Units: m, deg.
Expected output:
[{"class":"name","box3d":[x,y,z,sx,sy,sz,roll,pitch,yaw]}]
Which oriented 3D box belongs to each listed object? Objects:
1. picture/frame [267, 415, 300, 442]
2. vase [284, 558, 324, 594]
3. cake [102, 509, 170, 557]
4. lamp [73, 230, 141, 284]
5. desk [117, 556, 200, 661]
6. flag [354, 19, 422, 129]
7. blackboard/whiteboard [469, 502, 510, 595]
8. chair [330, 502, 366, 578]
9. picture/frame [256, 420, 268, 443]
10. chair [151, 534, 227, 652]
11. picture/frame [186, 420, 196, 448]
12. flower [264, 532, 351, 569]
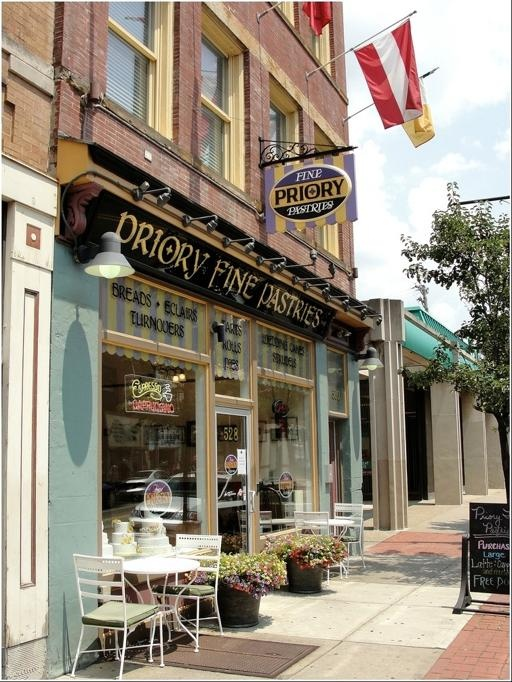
[{"class":"picture/frame","box3d":[0.438,1.388,11.456,0.096,0.419,1.251,-7,-12,21]},{"class":"vase","box3d":[0.630,3.058,9.422,0.406,0.377,0.478,-1,-20,3]},{"class":"cake","box3d":[-1.122,1.949,7.311,0.442,0.398,1.076,-6,-12,13]},{"class":"lamp","box3d":[-1.240,-0.690,6.208,0.424,0.406,0.429,-3,3,2]},{"class":"desk","box3d":[-0.882,2.321,6.855,0.704,1.120,0.665,-5,-12,22]},{"class":"flag","box3d":[1.703,-3.405,9.356,0.760,1.425,0.283,-5,-11,10]},{"class":"blackboard/whiteboard","box3d":[2.656,2.312,8.337,0.517,1.000,0.570,-1,-7,21]},{"class":"chair","box3d":[1.636,3.467,12.853,0.868,1.147,0.929,-6,-11,33]},{"class":"picture/frame","box3d":[0.082,1.332,10.678,0.046,0.484,0.338,-6,-7,23]},{"class":"chair","box3d":[-0.611,2.466,7.317,0.563,1.076,0.604,-3,-8,24]},{"class":"picture/frame","box3d":[-0.787,1.112,8.678,0.023,0.323,0.309,-4,-6,19]},{"class":"flower","box3d":[0.625,2.722,9.535,0.697,0.644,0.814,-4,-7,36]}]
